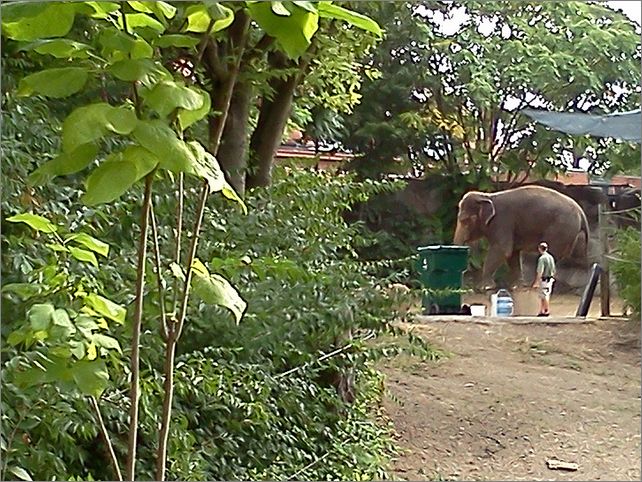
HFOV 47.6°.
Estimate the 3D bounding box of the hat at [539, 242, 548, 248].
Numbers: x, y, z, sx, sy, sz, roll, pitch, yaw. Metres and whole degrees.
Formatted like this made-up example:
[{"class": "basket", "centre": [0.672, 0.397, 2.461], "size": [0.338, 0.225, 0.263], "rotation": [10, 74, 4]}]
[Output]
[{"class": "hat", "centre": [4.780, 0.071, 15.615], "size": [0.131, 0.075, 0.193], "rotation": [5, -3, -1]}]
